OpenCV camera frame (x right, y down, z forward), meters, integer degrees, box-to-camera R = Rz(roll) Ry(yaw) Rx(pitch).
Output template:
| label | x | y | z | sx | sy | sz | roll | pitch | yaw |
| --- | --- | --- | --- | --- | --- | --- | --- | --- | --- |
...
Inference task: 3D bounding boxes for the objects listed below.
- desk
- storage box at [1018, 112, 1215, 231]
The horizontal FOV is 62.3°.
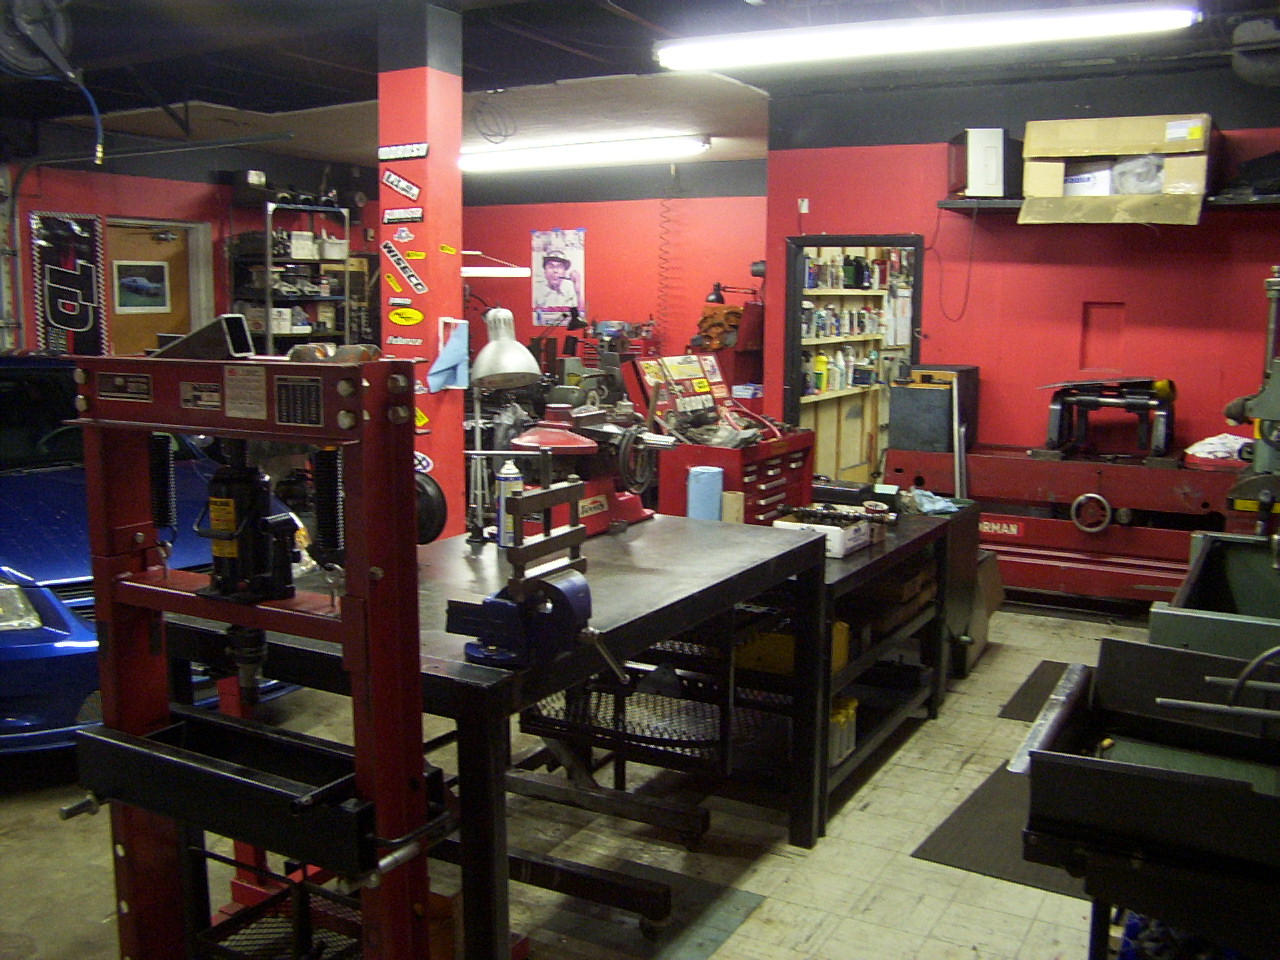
| label | x | y | z | sx | sy | sz | roll | pitch | yaw |
| --- | --- | --- | --- | --- | --- | --- | --- | --- | --- |
| desk | -0.174 | 0.794 | 3.243 | 0.649 | 0.458 | 1.889 | 3 | 6 | 31 |
| storage box | 2.824 | -1.831 | 6.221 | 1.027 | 0.437 | 0.930 | 5 | 10 | 28 |
